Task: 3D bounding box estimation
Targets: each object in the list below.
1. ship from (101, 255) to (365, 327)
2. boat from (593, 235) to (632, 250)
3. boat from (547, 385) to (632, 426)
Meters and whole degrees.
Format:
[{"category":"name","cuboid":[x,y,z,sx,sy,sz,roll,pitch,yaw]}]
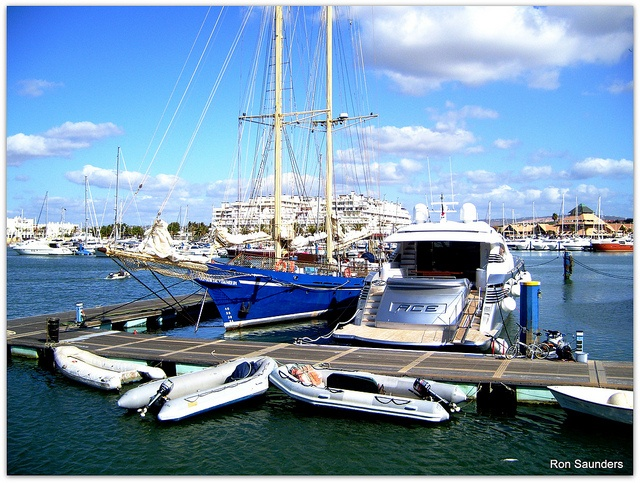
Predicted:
[{"category":"ship","cuboid":[-3.052,2.743,26.150,12.789,3.855,2.334,-1,2,-41]},{"category":"boat","cuboid":[78.626,0.275,130.776,12.173,2.924,3.172,1,-5,3]},{"category":"boat","cuboid":[8.184,4.885,14.723,2.059,0.491,0.953,1,6,29]}]
